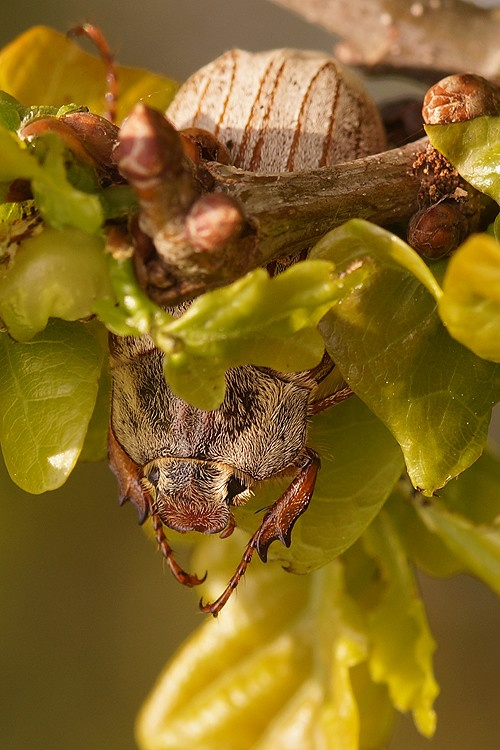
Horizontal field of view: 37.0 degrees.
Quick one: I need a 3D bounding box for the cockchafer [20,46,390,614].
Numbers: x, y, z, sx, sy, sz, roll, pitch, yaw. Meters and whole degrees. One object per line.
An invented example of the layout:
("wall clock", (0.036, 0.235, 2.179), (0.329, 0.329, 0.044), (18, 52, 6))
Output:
("cockchafer", (-0.007, -0.024, 0.455), (0.286, 0.303, 0.105), (7, 18, 12))
